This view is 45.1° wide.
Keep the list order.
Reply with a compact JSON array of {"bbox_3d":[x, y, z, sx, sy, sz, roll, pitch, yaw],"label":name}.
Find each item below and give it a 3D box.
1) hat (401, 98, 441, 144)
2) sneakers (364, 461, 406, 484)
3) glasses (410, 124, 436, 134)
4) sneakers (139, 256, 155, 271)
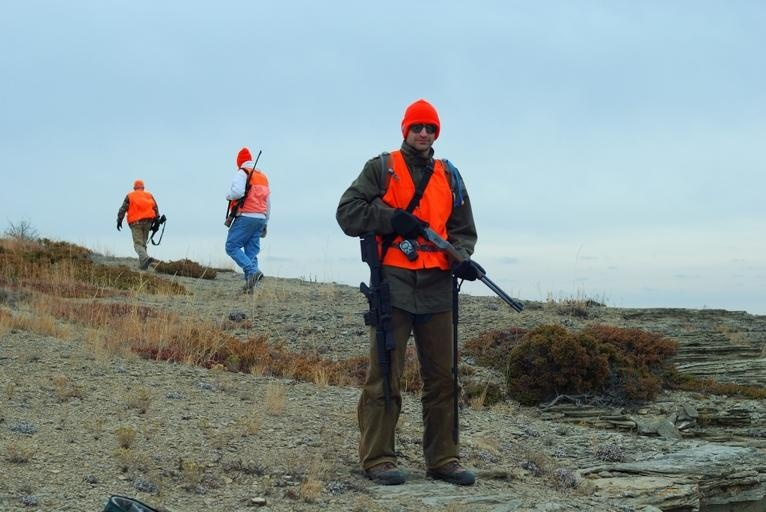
[{"bbox_3d":[0.547,-2.008,13.531,0.499,0.522,0.340,1,-1,4],"label":"hat"},{"bbox_3d":[0.019,3.184,13.469,0.596,0.301,0.251,1,-1,-1],"label":"sneakers"},{"bbox_3d":[0.594,-1.858,13.560,0.188,0.070,0.201,4,-12,-7],"label":"glasses"},{"bbox_3d":[-6.686,0.241,25.982,0.211,0.291,0.648,5,-20,-19],"label":"sneakers"}]
